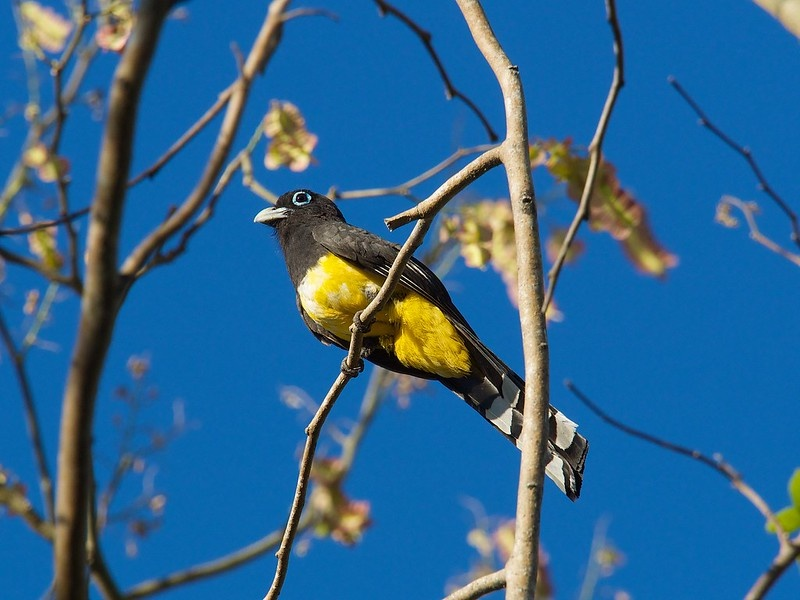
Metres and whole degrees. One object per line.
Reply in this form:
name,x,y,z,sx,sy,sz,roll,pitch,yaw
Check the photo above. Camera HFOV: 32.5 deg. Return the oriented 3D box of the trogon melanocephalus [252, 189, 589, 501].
trogon melanocephalus,0.089,0.048,7.131,1.951,0.936,0.660,21,-46,-5
